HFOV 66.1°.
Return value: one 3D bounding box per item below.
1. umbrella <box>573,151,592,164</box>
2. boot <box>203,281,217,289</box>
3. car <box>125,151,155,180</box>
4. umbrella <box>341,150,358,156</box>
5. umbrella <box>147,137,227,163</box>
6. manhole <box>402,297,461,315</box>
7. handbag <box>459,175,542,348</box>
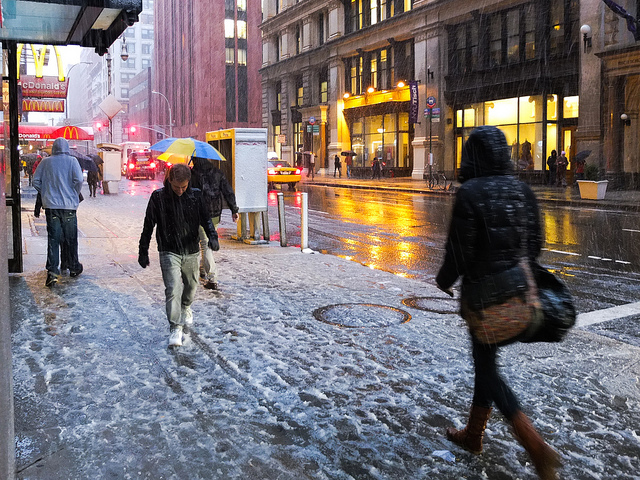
[{"bbox_3d":[12.194,-3.870,22.807,0.557,0.464,0.705,5,10,26],"label":"umbrella"},{"bbox_3d":[-1.741,0.702,7.706,0.260,0.146,0.121,4,10,19],"label":"boot"},{"bbox_3d":[-16.700,-7.002,45.435,1.587,1.697,2.884,-4,16,-21],"label":"car"},{"bbox_3d":[2.648,-7.640,43.364,1.215,0.449,3.010,2,10,8],"label":"umbrella"},{"bbox_3d":[-2.435,-1.643,8.984,1.171,0.444,1.099,-3,10,-19],"label":"umbrella"},{"bbox_3d":[1.620,0.915,7.196,0.823,0.074,0.897,4,10,20],"label":"manhole"},{"bbox_3d":[1.223,0.173,3.291,0.469,1.140,0.339,1,9,5],"label":"handbag"}]
